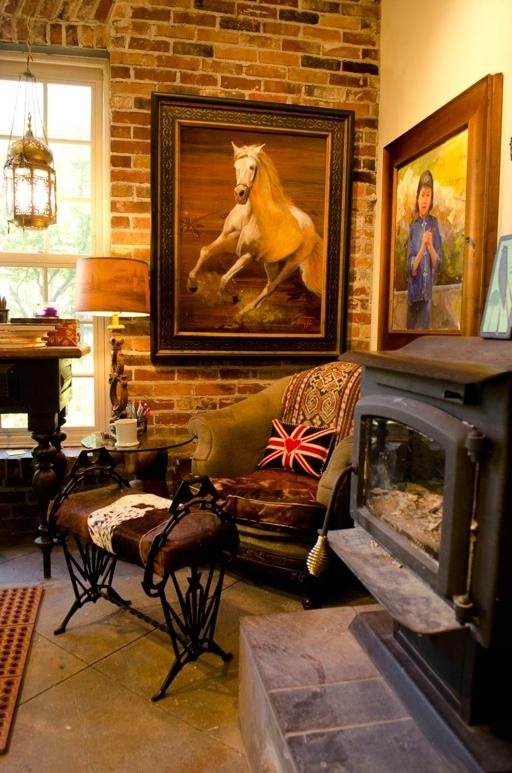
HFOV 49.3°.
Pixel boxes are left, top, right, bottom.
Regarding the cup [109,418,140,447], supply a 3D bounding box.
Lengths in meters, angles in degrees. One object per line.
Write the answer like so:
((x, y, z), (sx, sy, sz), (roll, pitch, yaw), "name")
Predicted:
((-0.556, 0.196, 2.389), (0.105, 0.110, 0.144), (0, 4, -15), "cup")

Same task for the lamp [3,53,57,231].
((-1.102, -1.216, 2.716), (0.218, 0.936, 0.569), (-1, 4, -21), "lamp")

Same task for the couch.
((0.094, 0.329, 2.549), (0.833, 1.044, 0.888), (2, -2, 36), "couch")
